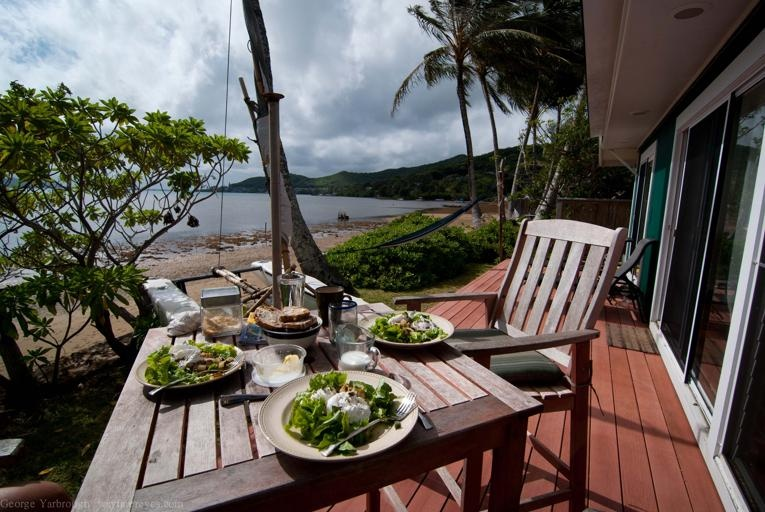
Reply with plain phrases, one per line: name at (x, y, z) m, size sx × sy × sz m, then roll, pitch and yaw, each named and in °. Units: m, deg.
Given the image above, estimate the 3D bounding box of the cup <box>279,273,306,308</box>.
cup at (-0.592, 0.225, 2.901) m, size 0.198 × 0.298 × 0.192 m, roll 0°, pitch 4°, yaw 0°

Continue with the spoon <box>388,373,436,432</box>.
spoon at (0.161, 0.809, 2.380) m, size 0.042 × 0.048 × 0.314 m, roll -9°, pitch 43°, yaw -20°

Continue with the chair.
chair at (1.172, 0.532, 4.304) m, size 2.067 × 2.955 × 1.784 m, roll -3°, pitch 9°, yaw -18°

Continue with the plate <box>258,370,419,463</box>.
plate at (-0.266, 0.852, 2.253) m, size 0.526 × 0.073 × 0.537 m, roll 5°, pitch 16°, yaw 15°
